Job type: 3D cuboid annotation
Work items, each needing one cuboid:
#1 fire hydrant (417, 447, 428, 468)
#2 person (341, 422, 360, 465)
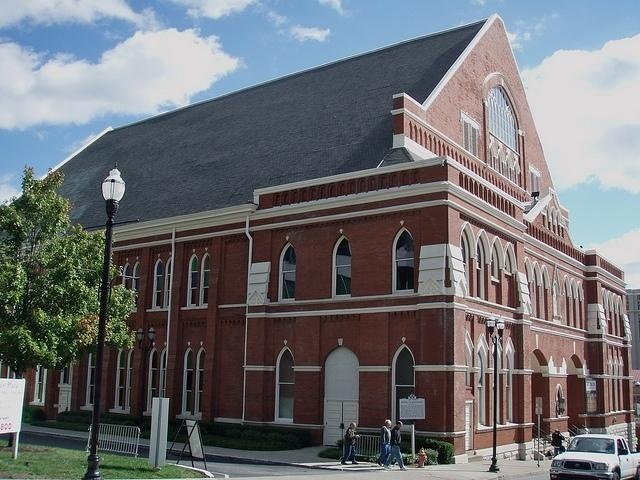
[{"bbox_3d":[4.559,9.884,35.306,0.601,1.111,0.578,1,-7,8],"label":"fire hydrant"},{"bbox_3d":[1.321,9.308,35.450,0.727,1.760,1.269,0,-16,5],"label":"person"}]
